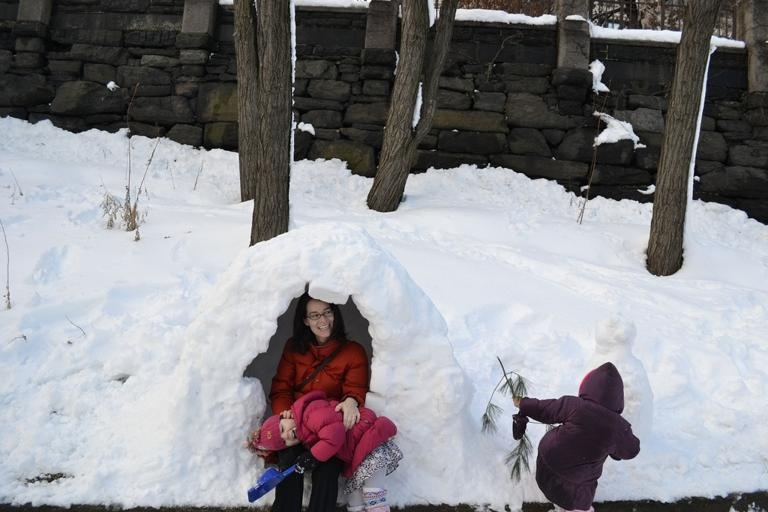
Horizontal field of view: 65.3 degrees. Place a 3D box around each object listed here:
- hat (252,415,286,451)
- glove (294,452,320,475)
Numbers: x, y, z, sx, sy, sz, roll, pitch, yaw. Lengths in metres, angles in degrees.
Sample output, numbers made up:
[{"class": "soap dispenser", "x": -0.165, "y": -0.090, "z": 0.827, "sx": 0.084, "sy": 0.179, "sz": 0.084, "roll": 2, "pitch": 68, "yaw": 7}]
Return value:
[{"class": "hat", "x": -0.999, "y": 1.578, "z": 5.220, "sx": 0.256, "sy": 0.245, "sz": 0.298, "roll": -35, "pitch": -11, "yaw": -4}, {"class": "glove", "x": -0.651, "y": 1.757, "z": 5.082, "sx": 0.186, "sy": 0.148, "sz": 0.073, "roll": -18, "pitch": -6, "yaw": -4}]
